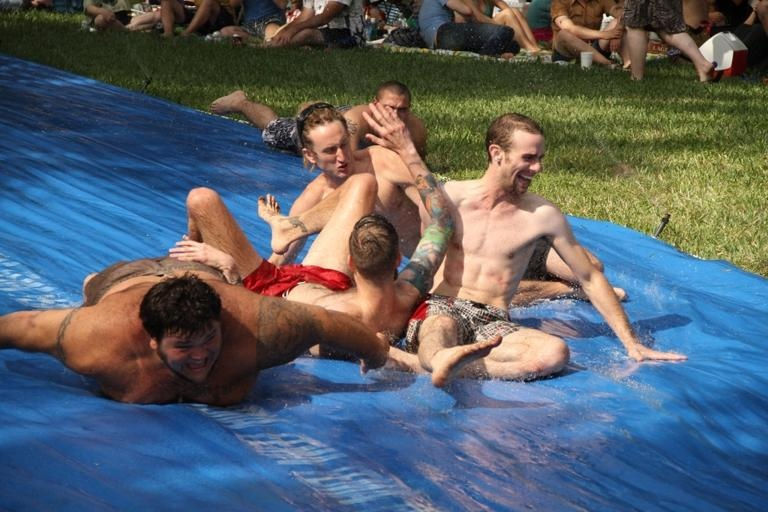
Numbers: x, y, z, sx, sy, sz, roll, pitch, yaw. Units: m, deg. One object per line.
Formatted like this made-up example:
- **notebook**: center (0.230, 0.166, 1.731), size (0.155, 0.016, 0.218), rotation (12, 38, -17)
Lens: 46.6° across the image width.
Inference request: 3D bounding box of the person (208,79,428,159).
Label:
- **person**: center (-0.767, -1.546, 10.182), size (2.358, 0.746, 1.207), rotation (14, 14, 13)
